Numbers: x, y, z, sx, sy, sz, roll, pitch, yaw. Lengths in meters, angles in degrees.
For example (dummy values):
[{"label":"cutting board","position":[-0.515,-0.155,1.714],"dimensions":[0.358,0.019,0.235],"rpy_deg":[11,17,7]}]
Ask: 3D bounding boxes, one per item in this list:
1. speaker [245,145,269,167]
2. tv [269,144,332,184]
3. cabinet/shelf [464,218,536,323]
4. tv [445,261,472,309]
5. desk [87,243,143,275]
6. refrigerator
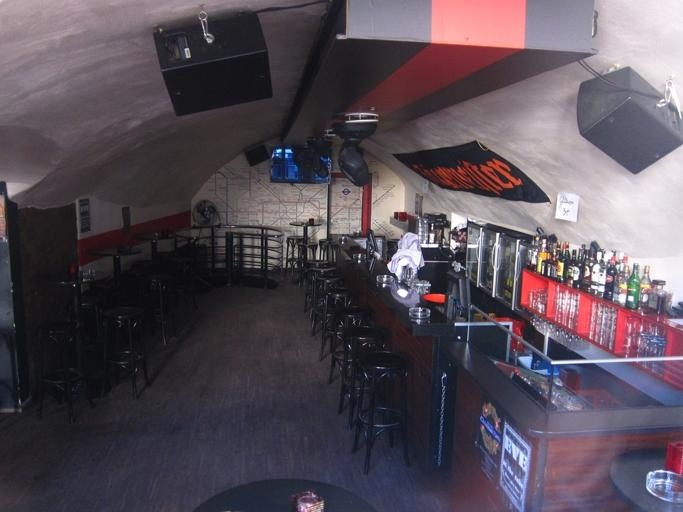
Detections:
[{"label":"speaker","position":[-1.718,-2.040,10.366],"dimensions":[0.450,0.469,0.690],"rpy_deg":[2,12,6]},{"label":"tv","position":[-0.875,-1.885,11.007],"dimensions":[1.229,0.867,0.663],"rpy_deg":[-1,-6,-6]},{"label":"cabinet/shelf","position":[1.880,0.075,5.885],"dimensions":[0.324,0.738,1.187],"rpy_deg":[-6,16,-17]},{"label":"tv","position":[1.065,0.250,4.624],"dimensions":[0.147,0.400,0.403],"rpy_deg":[2,3,-2]},{"label":"desk","position":[-2.961,0.040,6.819],"dimensions":[0.496,0.337,0.533],"rpy_deg":[4,22,0]},{"label":"refrigerator","position":[1.719,0.154,5.491],"dimensions":[0.286,0.611,0.943],"rpy_deg":[2,5,-1]}]
